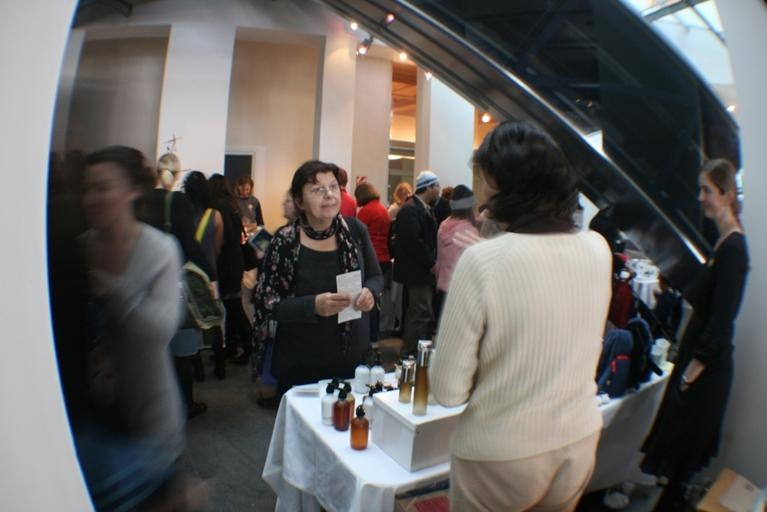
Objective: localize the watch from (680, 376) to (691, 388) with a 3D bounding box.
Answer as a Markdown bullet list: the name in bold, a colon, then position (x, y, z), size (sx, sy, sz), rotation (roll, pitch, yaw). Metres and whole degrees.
- **watch**: position (1.327, 0.556, 2.420), size (0.039, 0.038, 0.040), rotation (-22, -10, -26)

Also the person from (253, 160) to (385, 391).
- **person**: position (-0.269, 0.104, 2.301), size (0.543, 0.998, 0.284), rotation (-1, 5, -7)

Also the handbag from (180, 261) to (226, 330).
- **handbag**: position (-0.479, 0.108, 1.444), size (0.147, 0.161, 0.110), rotation (-2, 4, -38)

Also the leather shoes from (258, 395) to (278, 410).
- **leather shoes**: position (-0.629, 0.802, 3.007), size (0.050, 0.067, 0.144), rotation (1, 2, -26)

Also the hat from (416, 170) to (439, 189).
- **hat**: position (0.307, -0.547, 3.952), size (0.106, 0.095, 0.148), rotation (-24, 11, 6)

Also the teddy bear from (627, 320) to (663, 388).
- **teddy bear**: position (1.134, 0.421, 2.410), size (0.153, 0.259, 0.259), rotation (-2, 2, 15)

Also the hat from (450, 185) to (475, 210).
- **hat**: position (0.450, -0.347, 3.224), size (0.120, 0.140, 0.129), rotation (-8, 11, -36)
